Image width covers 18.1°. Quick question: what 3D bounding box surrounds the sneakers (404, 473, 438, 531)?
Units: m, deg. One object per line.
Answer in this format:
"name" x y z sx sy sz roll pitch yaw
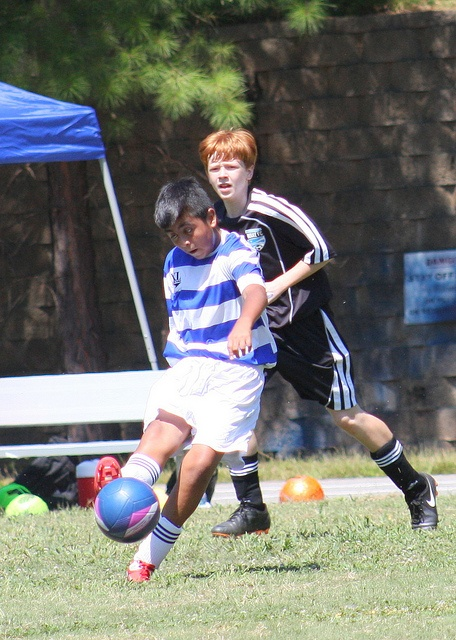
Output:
"sneakers" 0.922 0.886 6.818 0.105 0.281 0.139 -17 -29 37

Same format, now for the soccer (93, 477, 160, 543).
"soccer" -0.413 0.748 5.830 0.293 0.309 0.277 4 36 -7

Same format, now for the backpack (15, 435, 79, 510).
"backpack" -1.089 0.912 8.580 0.438 0.410 0.301 -4 21 -40

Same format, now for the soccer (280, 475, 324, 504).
"soccer" 0.417 0.976 8.051 0.167 0.155 0.192 -22 -34 29

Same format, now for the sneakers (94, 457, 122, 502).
"sneakers" -0.597 0.778 7.335 0.116 0.319 0.131 2 10 -1

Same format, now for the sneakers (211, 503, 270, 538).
"sneakers" 0.082 0.959 6.788 0.310 0.149 0.112 0 1 -31

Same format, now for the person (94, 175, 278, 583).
"person" -0.119 0.237 6.010 0.593 1.640 0.672 -2 8 12
